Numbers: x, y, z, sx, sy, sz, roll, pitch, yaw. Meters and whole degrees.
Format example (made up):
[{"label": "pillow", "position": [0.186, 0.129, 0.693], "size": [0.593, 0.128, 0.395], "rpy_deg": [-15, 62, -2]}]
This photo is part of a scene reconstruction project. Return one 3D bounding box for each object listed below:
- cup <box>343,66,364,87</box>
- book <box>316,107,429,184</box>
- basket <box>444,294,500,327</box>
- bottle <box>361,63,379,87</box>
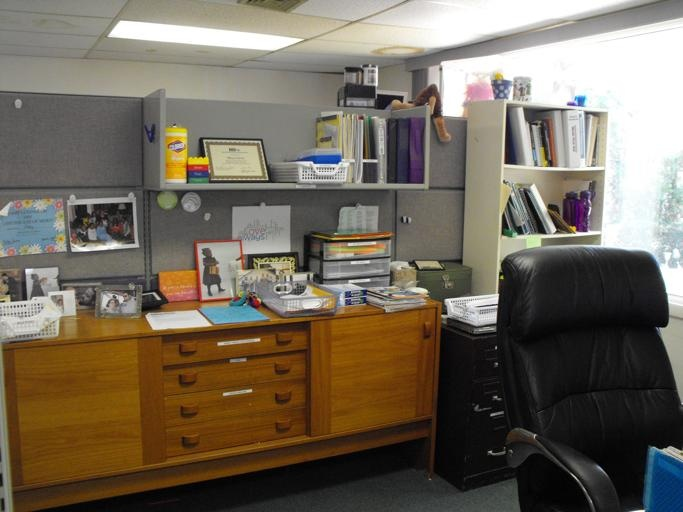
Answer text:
[{"label": "cup", "position": [0.079, -1.074, 3.245], "size": [0.115, 0.106, 0.077], "rpy_deg": [-5, 8, -8]}, {"label": "book", "position": [0.162, -0.620, 3.112], "size": [0.693, 0.494, 0.306], "rpy_deg": [-8, 8, -24]}, {"label": "basket", "position": [0.703, 0.297, 2.906], "size": [0.270, 0.142, 0.206], "rpy_deg": [-3, 8, 11]}, {"label": "bottle", "position": [0.181, -1.090, 3.284], "size": [0.137, 0.137, 0.067], "rpy_deg": [-11, 10, -41]}]
